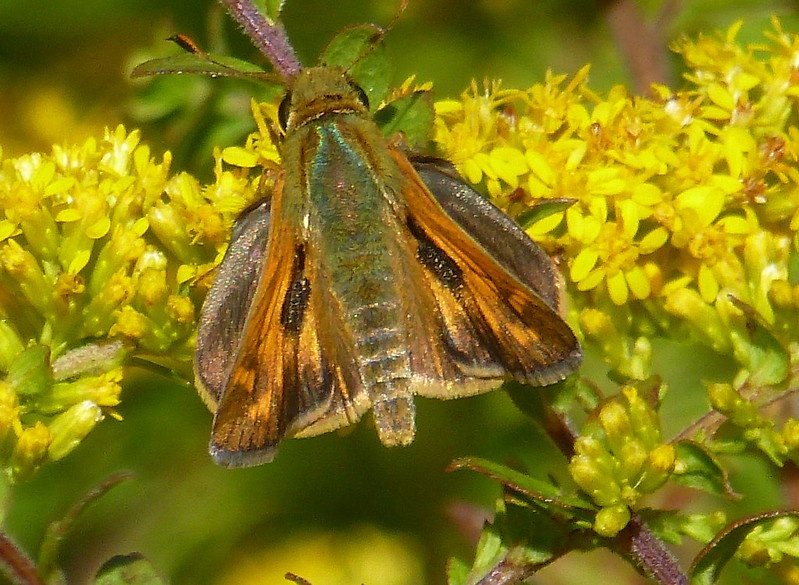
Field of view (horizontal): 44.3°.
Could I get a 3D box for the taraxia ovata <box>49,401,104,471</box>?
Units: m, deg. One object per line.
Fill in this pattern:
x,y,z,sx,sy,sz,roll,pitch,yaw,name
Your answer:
-1.035,0.440,3.037,0.208,0.127,0.075,-44,-8,2,taraxia ovata

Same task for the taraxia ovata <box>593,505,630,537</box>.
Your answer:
0.617,0.665,2.852,0.098,0.077,0.035,-51,-4,-15,taraxia ovata

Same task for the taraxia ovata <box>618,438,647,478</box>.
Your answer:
0.693,0.504,2.891,0.099,0.042,0.123,-11,22,2,taraxia ovata

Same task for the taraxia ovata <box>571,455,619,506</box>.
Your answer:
0.582,0.550,2.935,0.099,0.164,0.064,-41,0,16,taraxia ovata
